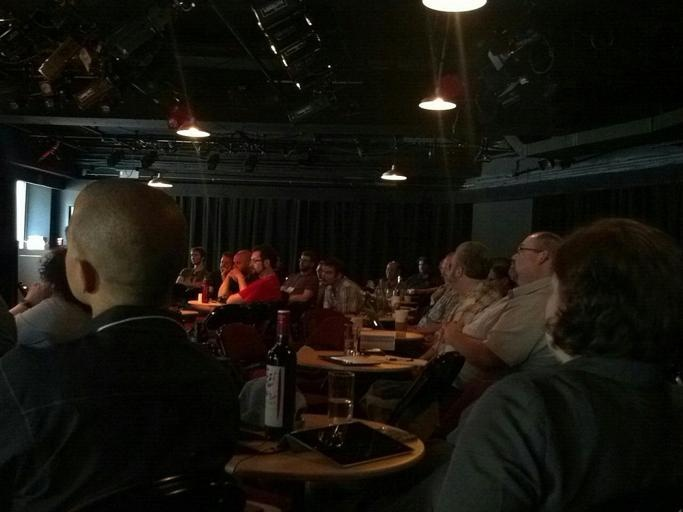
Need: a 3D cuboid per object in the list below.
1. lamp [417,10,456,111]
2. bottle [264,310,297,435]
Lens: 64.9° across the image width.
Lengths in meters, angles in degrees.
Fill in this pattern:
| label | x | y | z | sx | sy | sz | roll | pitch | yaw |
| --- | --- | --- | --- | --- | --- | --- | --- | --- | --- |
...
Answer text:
| label | x | y | z | sx | sy | sz | roll | pitch | yaw |
| --- | --- | --- | --- | --- | --- | --- | --- | --- | --- |
| lamp | 0.878 | -1.683 | 4.848 | 0.303 | 0.730 | 0.718 | 2 | -3 | 11 |
| bottle | -0.196 | 0.378 | 1.763 | 0.099 | 0.406 | 0.208 | 3 | -3 | -7 |
